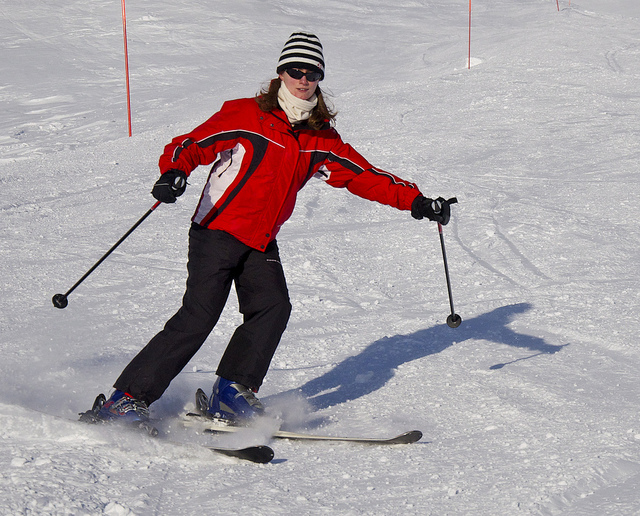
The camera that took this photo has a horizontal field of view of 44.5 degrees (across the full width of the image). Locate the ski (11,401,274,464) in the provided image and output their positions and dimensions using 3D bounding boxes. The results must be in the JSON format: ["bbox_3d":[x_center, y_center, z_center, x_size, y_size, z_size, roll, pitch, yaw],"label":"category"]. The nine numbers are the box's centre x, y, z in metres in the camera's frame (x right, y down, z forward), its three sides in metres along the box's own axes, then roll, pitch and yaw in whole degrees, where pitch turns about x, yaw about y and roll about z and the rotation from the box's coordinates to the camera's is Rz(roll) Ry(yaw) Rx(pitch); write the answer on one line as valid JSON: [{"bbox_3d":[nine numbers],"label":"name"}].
[{"bbox_3d":[-0.905,0.900,4.011,1.472,0.062,0.130,7,-7,7],"label":"ski"}]

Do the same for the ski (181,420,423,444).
[{"bbox_3d":[-0.130,0.959,4.303,1.206,0.058,0.106,2,-2,3],"label":"ski"}]

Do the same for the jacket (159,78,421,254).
[{"bbox_3d":[-0.227,-0.509,4.363,1.322,0.949,0.381,-4,24,-25],"label":"jacket"}]

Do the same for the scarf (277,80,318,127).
[{"bbox_3d":[-0.142,-0.826,4.246,0.263,0.181,0.275,24,1,-7],"label":"scarf"}]
